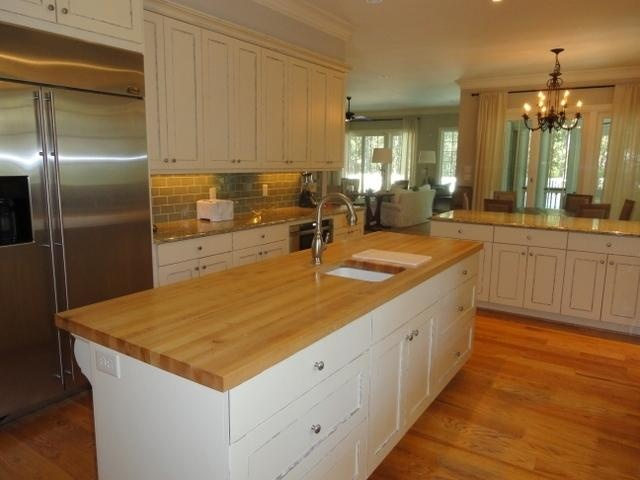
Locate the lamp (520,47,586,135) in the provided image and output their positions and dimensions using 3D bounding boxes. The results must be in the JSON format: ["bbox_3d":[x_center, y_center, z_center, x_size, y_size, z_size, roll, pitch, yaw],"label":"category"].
[{"bbox_3d":[3.581,-2.319,7.330,0.868,1.178,0.913,10,22,31],"label":"lamp"}]

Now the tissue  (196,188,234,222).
[{"bbox_3d":[-1.035,-0.394,4.843,0.350,0.375,0.346,-11,18,-42],"label":"tissue "}]

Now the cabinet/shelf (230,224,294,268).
[{"bbox_3d":[-0.579,0.039,4.727,0.341,0.427,0.643,7,12,38],"label":"cabinet/shelf"}]

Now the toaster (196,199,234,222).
[{"bbox_3d":[-1.063,-0.311,4.775,0.255,0.169,0.261,12,16,38],"label":"toaster"}]

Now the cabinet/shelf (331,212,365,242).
[{"bbox_3d":[0.284,-0.142,5.294,0.351,0.328,0.222,-15,22,-42],"label":"cabinet/shelf"}]
